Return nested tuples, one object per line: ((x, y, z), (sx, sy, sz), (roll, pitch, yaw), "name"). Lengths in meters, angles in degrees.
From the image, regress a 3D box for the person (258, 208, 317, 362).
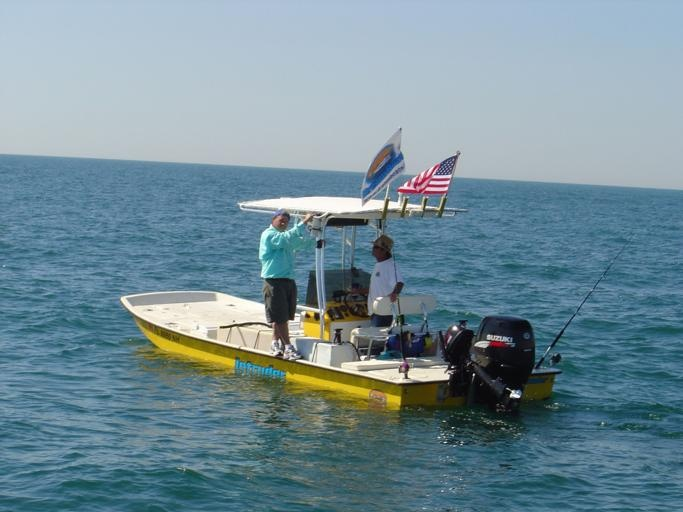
((-1.101, 0.451, 14.166), (1.311, 2.090, 1.106), (1, 1, 37), "person")

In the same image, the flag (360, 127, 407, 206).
((0.692, -1.409, 13.564), (0.581, 1.193, 0.454), (9, 12, 2), "flag")

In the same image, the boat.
((-0.048, -0.020, 14.701), (2.806, 4.260, 7.277), (-3, 11, -44), "boat")
